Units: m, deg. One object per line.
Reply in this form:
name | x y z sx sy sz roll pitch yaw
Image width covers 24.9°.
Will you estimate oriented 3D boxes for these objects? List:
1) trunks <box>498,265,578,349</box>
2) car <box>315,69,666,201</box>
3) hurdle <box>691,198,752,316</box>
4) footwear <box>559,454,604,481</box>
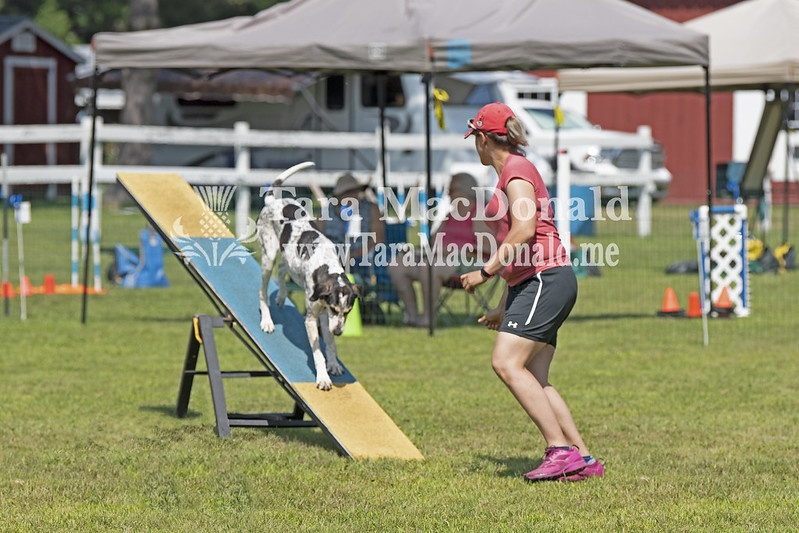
trunks | 1.628 0.432 20.970 0.800 1.154 1.184 9 0 -8
car | 1.823 -2.509 36.699 7.377 3.930 2.806 -1 10 -2
hurdle | 4.324 -0.072 24.618 0.400 1.544 0.801 8 -14 -42
footwear | 2.137 2.450 20.743 0.612 0.283 0.211 -1 0 -20
